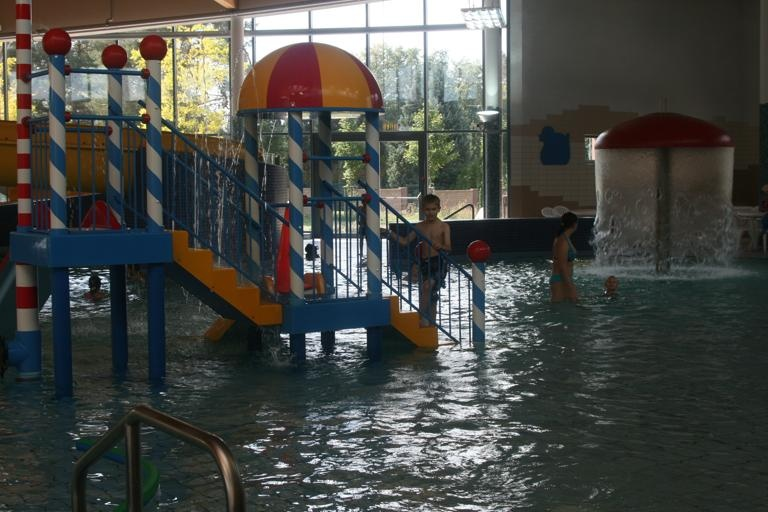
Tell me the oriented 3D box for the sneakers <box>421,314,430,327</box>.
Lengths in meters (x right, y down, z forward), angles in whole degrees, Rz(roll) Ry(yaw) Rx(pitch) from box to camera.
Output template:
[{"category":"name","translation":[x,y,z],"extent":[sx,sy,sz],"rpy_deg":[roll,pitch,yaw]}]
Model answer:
[{"category":"sneakers","translation":[0.455,0.767,11.244],"extent":[0.125,0.127,0.077],"rpy_deg":[4,-3,-29]}]

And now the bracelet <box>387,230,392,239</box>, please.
[{"category":"bracelet","translation":[0.058,-0.251,11.720],"extent":[0.038,0.057,0.171],"rpy_deg":[20,13,13]}]

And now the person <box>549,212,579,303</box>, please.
[{"category":"person","translation":[2.384,0.033,13.215],"extent":[0.350,1.221,0.527],"rpy_deg":[0,5,9]}]
